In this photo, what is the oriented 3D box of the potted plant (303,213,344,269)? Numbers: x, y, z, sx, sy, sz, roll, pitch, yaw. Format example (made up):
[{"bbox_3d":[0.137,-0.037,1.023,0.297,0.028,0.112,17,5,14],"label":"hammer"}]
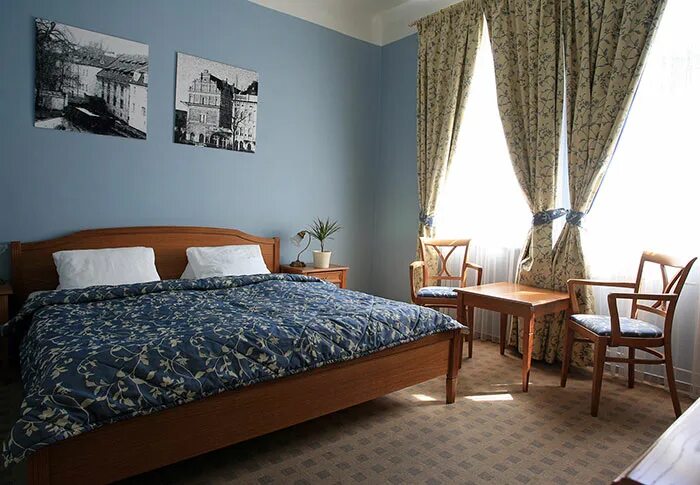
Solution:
[{"bbox_3d":[-0.321,-0.008,5.582,0.529,0.694,0.496,-2,5,-41],"label":"potted plant"}]

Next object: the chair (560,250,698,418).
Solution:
[{"bbox_3d":[2.463,0.689,4.359,1.136,1.759,1.239,1,0,-4],"label":"chair"}]

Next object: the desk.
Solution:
[{"bbox_3d":[1.388,0.832,4.320,0.764,0.707,0.804,5,-2,37],"label":"desk"}]
